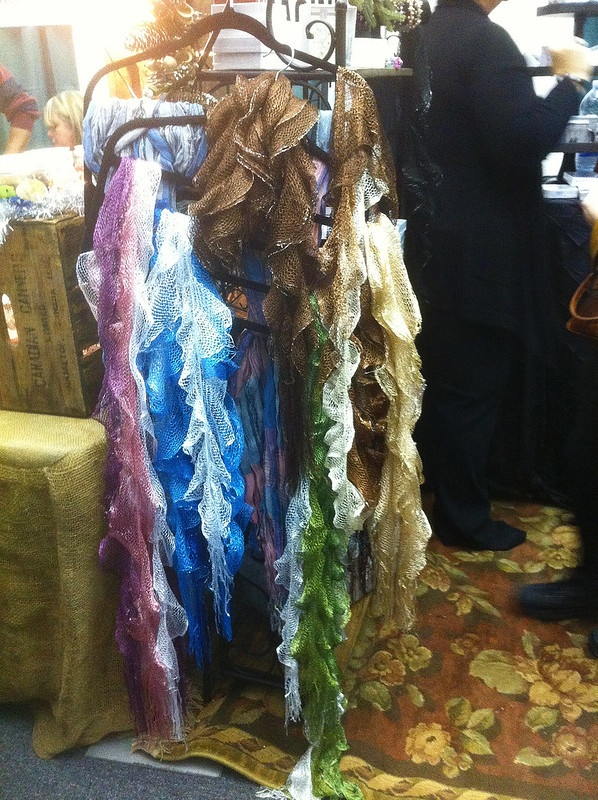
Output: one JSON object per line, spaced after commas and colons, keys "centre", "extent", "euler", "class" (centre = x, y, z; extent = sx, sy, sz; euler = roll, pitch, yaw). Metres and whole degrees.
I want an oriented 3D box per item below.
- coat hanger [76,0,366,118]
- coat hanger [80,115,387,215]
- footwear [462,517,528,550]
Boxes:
{"centre": [-0.110, -0.559, 1.266], "extent": [0.472, 0.298, 0.024], "euler": [3, 33, 8], "class": "coat hanger"}
{"centre": [-0.139, -0.344, 1.141], "extent": [0.381, 0.134, 0.056], "euler": [1, 18, 5], "class": "coat hanger"}
{"centre": [0.492, 0.334, 1.958], "extent": [0.094, 0.039, 0.077], "euler": [0, 14, 7], "class": "footwear"}
